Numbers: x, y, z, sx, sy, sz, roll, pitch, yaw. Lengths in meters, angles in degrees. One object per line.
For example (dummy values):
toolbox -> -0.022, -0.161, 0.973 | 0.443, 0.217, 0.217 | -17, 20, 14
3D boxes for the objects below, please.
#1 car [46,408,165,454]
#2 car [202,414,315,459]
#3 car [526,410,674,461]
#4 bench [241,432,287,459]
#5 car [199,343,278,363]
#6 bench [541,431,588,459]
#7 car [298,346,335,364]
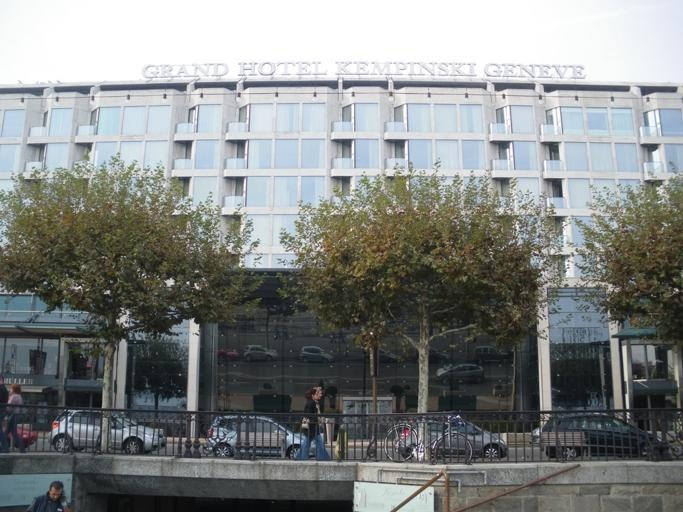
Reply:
car -> -7.845, 5.877, 25.979 | 3.788, 1.203, 1.637 | 0, -6, -1
car -> -2.701, 5.837, 25.734 | 3.050, 1.162, 1.658 | -1, 0, -6
car -> 7.960, 5.566, 24.340 | 3.937, 1.261, 1.713 | -1, -4, -3
bench -> -2.515, 6.143, 25.641 | 1.457, 0.664, 1.007 | -2, 1, 0
car -> -5.356, 5.286, 43.649 | 3.305, 0.895, 1.198 | 0, -2, 1
bench -> 6.763, 5.703, 23.761 | 1.313, 0.840, 0.641 | -3, -12, 10
car -> -1.307, 5.422, 43.467 | 1.714, 0.729, 0.881 | -1, -1, 1
